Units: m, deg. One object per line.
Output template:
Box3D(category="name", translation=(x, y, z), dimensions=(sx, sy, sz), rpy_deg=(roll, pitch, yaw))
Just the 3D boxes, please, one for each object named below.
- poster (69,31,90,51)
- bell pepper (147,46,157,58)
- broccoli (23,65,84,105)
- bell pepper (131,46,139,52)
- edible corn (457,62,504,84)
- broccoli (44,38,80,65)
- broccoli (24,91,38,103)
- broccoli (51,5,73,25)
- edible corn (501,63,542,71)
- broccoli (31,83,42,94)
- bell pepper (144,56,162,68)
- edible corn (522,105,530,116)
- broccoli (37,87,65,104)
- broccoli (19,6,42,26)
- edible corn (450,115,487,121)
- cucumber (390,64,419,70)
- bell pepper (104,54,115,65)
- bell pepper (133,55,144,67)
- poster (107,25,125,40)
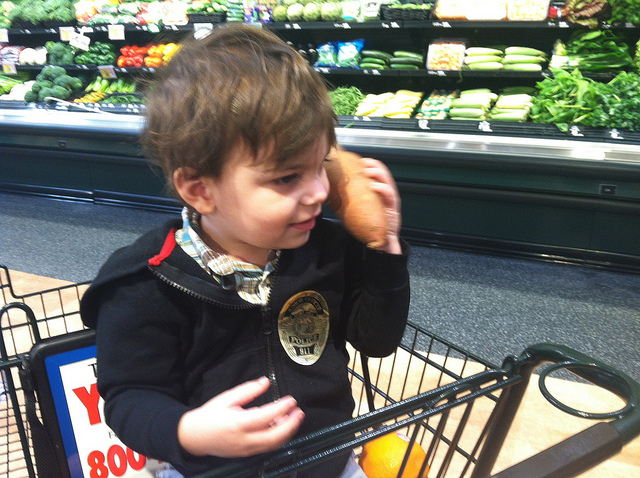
Box3D(category="poster", translation=(-2.382, -1.965, 4.359), dimensions=(0.170, 0.170, 0.146), rpy_deg=(-6, 22, -20))
Box3D(category="bell pepper", translation=(-1.676, -1.874, 4.414), dimensions=(0.091, 0.115, 0.161), rpy_deg=(-6, 21, -20))
Box3D(category="broccoli", translation=(-2.651, -1.535, 4.349), dimensions=(0.579, 0.190, 0.489), rpy_deg=(-11, 30, 0))
Box3D(category="bell pepper", translation=(-1.892, -1.941, 4.493), dimensions=(0.085, 0.037, 0.082), rpy_deg=(16, 25, 32))
Box3D(category="edible corn", translation=(1.257, -1.302, 3.426), dimensions=(0.322, 0.142, 0.332), rpy_deg=(6, 19, 13))
Box3D(category="broccoli", translation=(-2.707, -1.963, 4.640), dimensions=(0.493, 0.252, 0.288), rpy_deg=(19, 26, 41))
Box3D(category="broccoli", translation=(-2.800, -1.383, 4.307), dimensions=(0.120, 0.066, 0.119), rpy_deg=(10, 44, 9))
Box3D(category="broccoli", translation=(-2.625, -2.290, 4.474), dimensions=(0.209, 0.207, 0.076), rpy_deg=(-3, -23, -17))
Box3D(category="edible corn", translation=(1.514, -1.289, 3.296), dimensions=(0.263, 0.066, 0.194), rpy_deg=(6, 19, 16))
Box3D(category="broccoli", translation=(-2.777, -1.473, 4.312), dimensions=(0.114, 0.089, 0.025), rpy_deg=(-1, -12, -2))
Box3D(category="bell pepper", translation=(-1.634, -1.738, 4.305), dimensions=(0.156, 0.109, 0.300), rpy_deg=(-5, 19, -19))
Box3D(category="edible corn", translation=(1.540, -0.953, 3.271), dimensions=(0.015, 0.055, 0.067), rpy_deg=(-33, -13, 38))
Box3D(category="broccoli", translation=(-2.618, -1.395, 4.261), dimensions=(0.259, 0.135, 0.127), rpy_deg=(-2, 20, -11))
Box3D(category="broccoli", translation=(-3.004, -2.308, 4.554), dimensions=(0.309, 0.182, 0.091), rpy_deg=(15, 25, 35))
Box3D(category="edible corn", translation=(1.096, -0.889, 3.225), dimensions=(0.235, 0.036, 0.267), rpy_deg=(6, 18, 16))
Box3D(category="cucumber", translation=(0.698, -1.400, 3.579), dimensions=(0.206, 0.035, 0.036), rpy_deg=(7, 54, 11))
Box3D(category="bell pepper", translation=(-2.128, -1.821, 4.469), dimensions=(0.025, 0.076, 0.080), rpy_deg=(-42, 3, 21))
Box3D(category="bell pepper", translation=(-1.832, -1.807, 4.437), dimensions=(0.094, 0.097, 0.095), rpy_deg=(-5, 21, -18))
Box3D(category="poster", translation=(-1.951, -1.989, 4.224), dimensions=(0.202, 0.118, 0.074), rpy_deg=(15, 25, 35))
